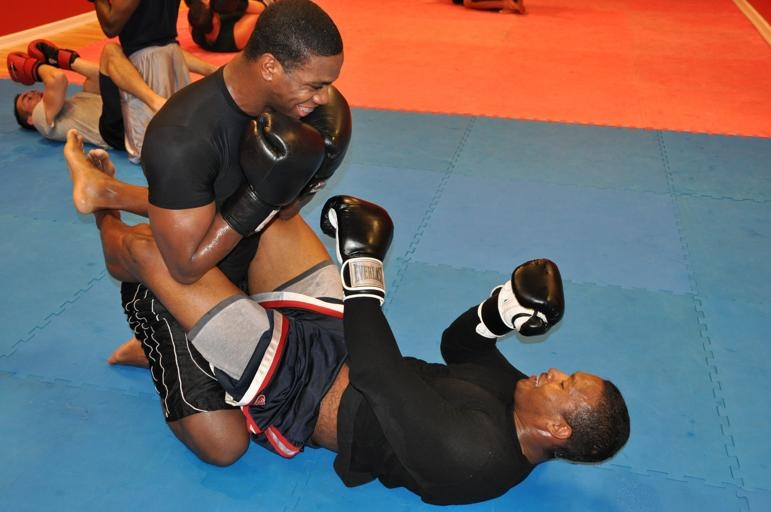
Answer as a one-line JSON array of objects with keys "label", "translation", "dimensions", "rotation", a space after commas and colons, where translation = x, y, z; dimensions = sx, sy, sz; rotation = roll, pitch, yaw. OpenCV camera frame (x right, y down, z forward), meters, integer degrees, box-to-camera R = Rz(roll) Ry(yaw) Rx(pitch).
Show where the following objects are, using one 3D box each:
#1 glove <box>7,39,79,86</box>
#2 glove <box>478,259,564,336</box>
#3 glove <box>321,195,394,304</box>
[{"label": "glove", "translation": [-3.621, -1.977, 6.384], "dimensions": [0.713, 0.354, 0.504], "rotation": [19, 39, 11]}, {"label": "glove", "translation": [0.851, 0.274, 3.863], "dimensions": [0.234, 0.415, 0.326], "rotation": [23, 58, -25]}, {"label": "glove", "translation": [-0.167, -0.027, 3.684], "dimensions": [0.458, 0.279, 0.792], "rotation": [19, 49, -22]}]
